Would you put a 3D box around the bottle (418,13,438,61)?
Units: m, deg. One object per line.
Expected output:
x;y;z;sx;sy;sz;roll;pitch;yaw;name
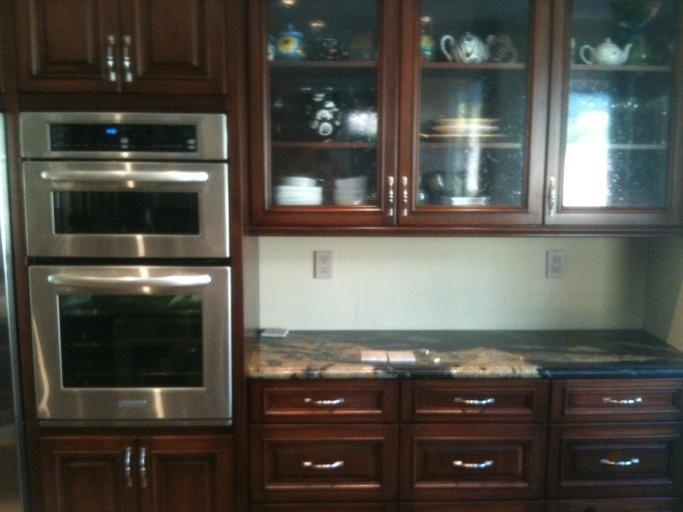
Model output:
0.365;-0.914;3.529;0.071;0.188;0.013;-6;8;-23;bottle

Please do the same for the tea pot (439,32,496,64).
0.527;-0.874;3.547;0.253;0.115;0.140;1;23;3;tea pot

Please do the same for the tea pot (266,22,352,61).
-0.146;-0.885;3.477;0.322;0.097;0.167;-2;14;-9;tea pot

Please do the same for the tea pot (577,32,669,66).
1.150;-0.863;3.504;0.268;0.098;0.133;1;9;4;tea pot

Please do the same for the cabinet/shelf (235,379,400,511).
-0.075;0.682;3.641;0.883;0.661;0.521;0;-3;1;cabinet/shelf
